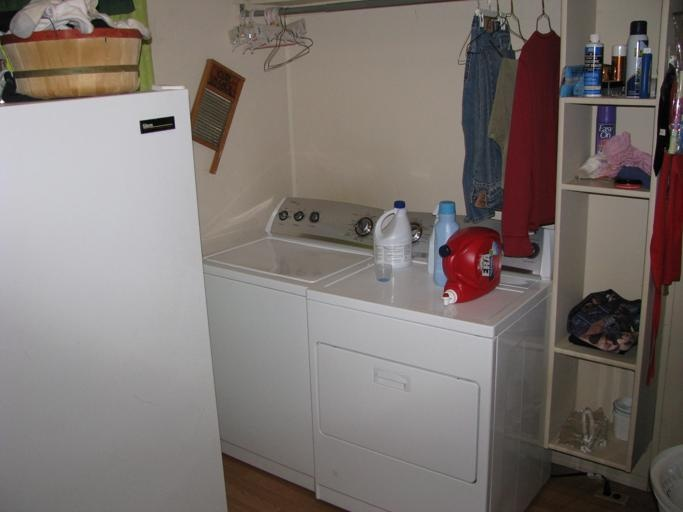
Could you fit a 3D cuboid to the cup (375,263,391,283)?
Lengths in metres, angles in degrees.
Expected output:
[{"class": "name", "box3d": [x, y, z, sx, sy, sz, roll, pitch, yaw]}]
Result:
[{"class": "cup", "box3d": [0.192, 0.080, 2.416, 0.072, 0.086, 0.074, 0, 29, 0]}]

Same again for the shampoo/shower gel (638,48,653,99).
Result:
[{"class": "shampoo/shower gel", "box3d": [1.153, -0.683, 1.968, 0.049, 0.177, 0.093, 8, 19, 29]}]

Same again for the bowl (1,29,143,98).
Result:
[{"class": "bowl", "box3d": [-0.781, -0.512, 1.542, 0.265, 0.127, 0.268, -4, 7, 1]}]

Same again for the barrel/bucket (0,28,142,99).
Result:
[{"class": "barrel/bucket", "box3d": [-0.799, -0.502, 1.547, 0.272, 0.131, 0.275, -4, 6, 0]}]

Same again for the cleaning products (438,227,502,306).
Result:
[{"class": "cleaning products", "box3d": [0.522, 0.051, 2.099, 0.226, 0.213, 0.116, -22, 28, -30]}]

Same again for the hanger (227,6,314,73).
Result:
[{"class": "hanger", "box3d": [-0.394, -1.179, 2.838, 0.364, 0.330, 0.101, 10, 44, -1]}]

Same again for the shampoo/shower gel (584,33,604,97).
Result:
[{"class": "shampoo/shower gel", "box3d": [1.003, -0.745, 2.067, 0.074, 0.229, 0.134, 6, 19, 25]}]
